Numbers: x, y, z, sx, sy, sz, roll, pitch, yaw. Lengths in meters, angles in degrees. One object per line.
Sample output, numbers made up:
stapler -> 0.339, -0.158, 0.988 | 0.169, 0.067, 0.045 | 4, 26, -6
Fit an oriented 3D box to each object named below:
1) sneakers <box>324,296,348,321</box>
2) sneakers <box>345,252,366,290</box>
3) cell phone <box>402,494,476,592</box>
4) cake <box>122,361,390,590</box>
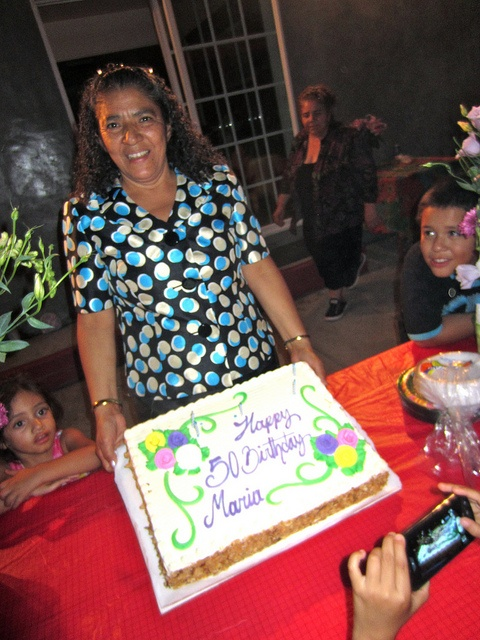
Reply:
sneakers -> 0.704, -0.089, 3.738 | 0.092, 0.098, 0.223 | 12, 33, 19
sneakers -> 0.901, -0.381, 3.767 | 0.139, 0.401, 0.157 | 18, 75, 7
cell phone -> 0.324, 0.365, 0.808 | 0.105, 0.057, 0.103 | -29, 2, -35
cake -> 0.049, 0.313, 1.046 | 0.452, 0.162, 0.553 | -22, 21, -9
